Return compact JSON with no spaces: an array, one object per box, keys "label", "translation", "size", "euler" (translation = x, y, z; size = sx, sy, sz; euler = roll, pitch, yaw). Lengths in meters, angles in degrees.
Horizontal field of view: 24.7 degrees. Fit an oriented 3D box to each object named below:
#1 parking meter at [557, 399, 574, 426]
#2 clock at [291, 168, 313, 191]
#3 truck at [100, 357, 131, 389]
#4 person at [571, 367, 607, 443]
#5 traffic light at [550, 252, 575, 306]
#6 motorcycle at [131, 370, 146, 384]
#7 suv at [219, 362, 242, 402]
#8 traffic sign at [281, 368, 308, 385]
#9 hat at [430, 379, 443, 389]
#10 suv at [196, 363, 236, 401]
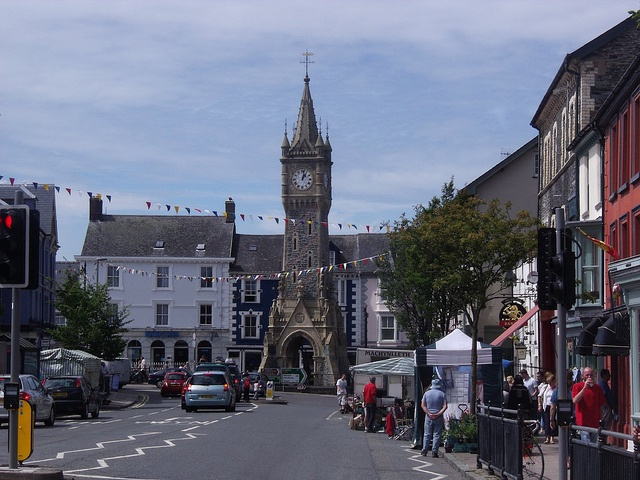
[{"label":"parking meter","translation":[6.191,4.343,36.624],"size":[0.372,0.668,0.425],"euler":[-2,-12,8]},{"label":"clock","translation":[-1.094,-4.074,100.275],"size":[1.704,1.509,0.146],"euler":[2,-12,11]},{"label":"truck","translation":[-10.967,7.476,82.937],"size":[1.299,1.525,3.178],"euler":[-1,-7,10]},{"label":"person","translation":[7.422,4.509,39.962],"size":[0.896,2.000,1.036],"euler":[-4,-5,15]},{"label":"traffic light","translation":[6.173,0.971,36.876],"size":[0.641,1.424,0.420],"euler":[-2,-13,10]},{"label":"motorcycle","translation":[-11.628,8.953,94.743],"size":[0.975,0.853,0.693],"euler":[-10,-16,40]},{"label":"suv","translation":[-4.171,6.541,66.852],"size":[1.316,1.068,2.216],"euler":[-1,2,-1]},{"label":"traffic sign","translation":[-1.548,8.285,88.503],"size":[1.687,0.862,0.205],"euler":[1,-1,-8]},{"label":"hat","translation":[3.633,4.433,44.959],"size":[0.298,0.293,0.317],"euler":[1,-4,18]},{"label":"suv","translation":[-4.314,5.751,60.301],"size":[1.493,1.737,1.423],"euler":[-3,-6,1]}]
